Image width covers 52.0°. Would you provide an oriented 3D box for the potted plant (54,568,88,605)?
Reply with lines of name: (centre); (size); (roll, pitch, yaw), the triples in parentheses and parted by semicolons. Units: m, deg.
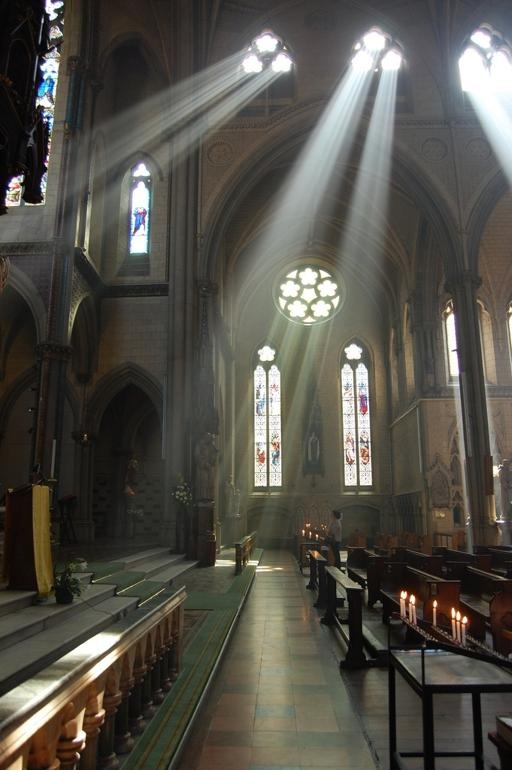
potted plant: (-1.733, 1.853, 4.899); (0.236, 0.361, 0.500); (4, -11, -23)
